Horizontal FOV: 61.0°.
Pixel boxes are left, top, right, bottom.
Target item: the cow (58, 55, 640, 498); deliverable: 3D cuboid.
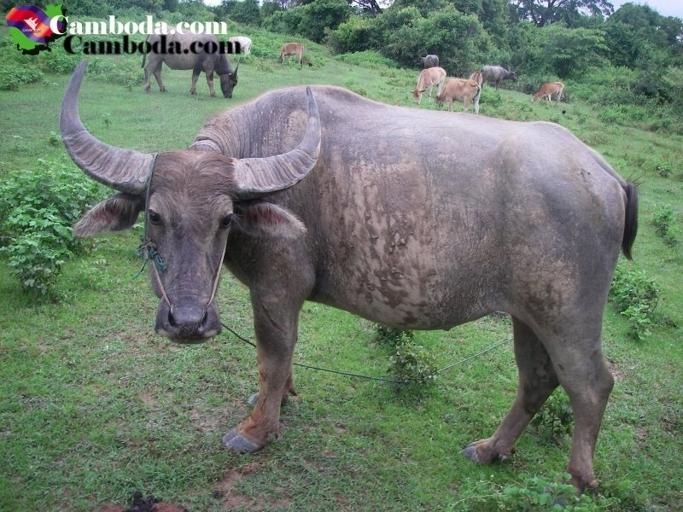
[{"bbox_3d":[-0.137,0.446,6.815,5.277,4.062,2.739,6,23,2],"label":"cow"}]
